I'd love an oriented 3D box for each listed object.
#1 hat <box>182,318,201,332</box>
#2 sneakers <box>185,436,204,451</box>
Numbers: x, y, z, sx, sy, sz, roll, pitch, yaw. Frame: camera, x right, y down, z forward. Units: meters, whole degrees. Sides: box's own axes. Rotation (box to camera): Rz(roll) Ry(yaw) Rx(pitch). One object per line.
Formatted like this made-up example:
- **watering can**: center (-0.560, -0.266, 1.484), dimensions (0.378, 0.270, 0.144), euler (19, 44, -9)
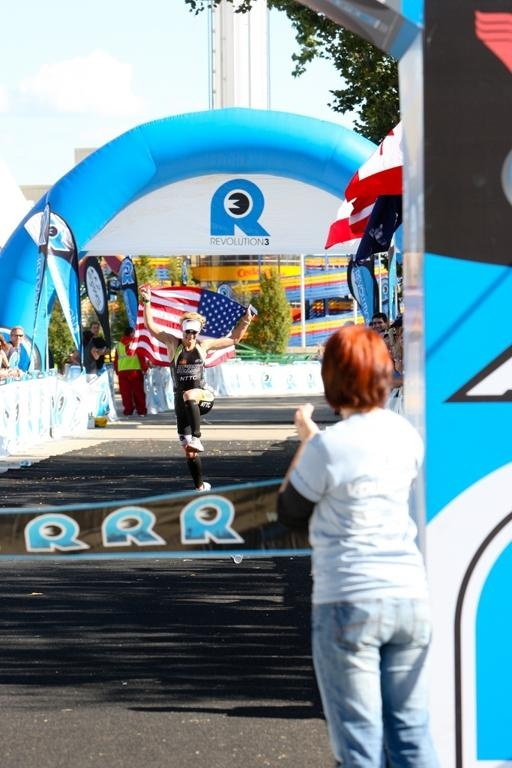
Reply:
- **hat**: center (-0.642, -0.587, 11.458), dimensions (0.182, 0.132, 0.254), euler (3, -4, 0)
- **sneakers**: center (-0.597, 0.584, 10.929), dimensions (0.083, 0.104, 0.239), euler (-1, -18, 8)
